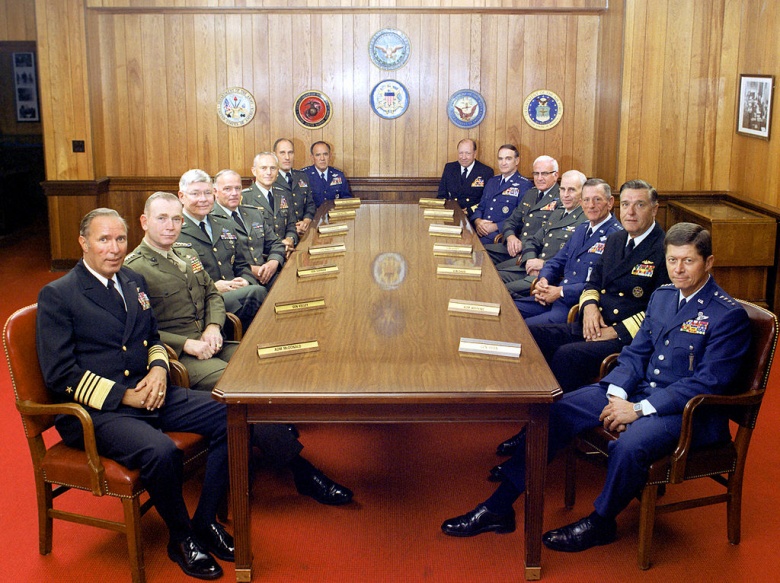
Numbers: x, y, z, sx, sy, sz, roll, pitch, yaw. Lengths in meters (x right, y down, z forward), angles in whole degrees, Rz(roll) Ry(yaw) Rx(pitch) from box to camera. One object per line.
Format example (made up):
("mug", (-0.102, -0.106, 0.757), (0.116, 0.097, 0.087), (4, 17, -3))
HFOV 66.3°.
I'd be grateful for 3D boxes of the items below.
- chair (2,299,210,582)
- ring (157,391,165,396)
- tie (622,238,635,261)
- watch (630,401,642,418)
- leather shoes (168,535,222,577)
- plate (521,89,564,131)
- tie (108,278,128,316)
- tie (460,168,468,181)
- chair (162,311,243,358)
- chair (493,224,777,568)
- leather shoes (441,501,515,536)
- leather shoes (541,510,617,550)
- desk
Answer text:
("chair", (-1.363, 0.532, 3.143), (0.960, 1.595, 1.033), (1, 7, 8))
("ring", (-1.002, 0.446, 2.603), (0.021, 0.006, 0.022), (0, 10, 0))
("tie", (1.386, -0.246, 3.459), (0.025, 0.107, 0.073), (24, -20, -32))
("watch", (1.071, 0.514, 2.585), (0.034, 0.050, 0.050), (0, -10, 12))
("leather shoes", (-0.806, 1.064, 2.488), (0.255, 0.111, 0.106), (15, 16, 34))
("plate", (1.770, -2.107, 6.905), (0.467, 0.423, 0.040), (-3, 13, -3))
("tie", (-1.212, 0.022, 2.653), (0.034, 0.146, 0.080), (-14, 0, 37))
("tie", (0.845, -1.349, 6.819), (0.143, 0.153, 0.035), (1, -2, 1))
("chair", (-1.020, 0.247, 3.249), (0.234, 0.283, 0.295), (2, 6, 4))
("chair", (1.555, 0.376, 3.389), (1.343, 2.082, 1.159), (0, 6, -3))
("leather shoes", (0.407, 1.043, 2.770), (0.363, 0.163, 0.136), (0, 5, -3))
("leather shoes", (0.840, 1.053, 2.652), (0.361, 0.151, 0.137), (-8, 24, -6))
("desk", (0.012, 0.424, 3.245), (1.301, 1.082, 2.125), (-2, 14, 1))
